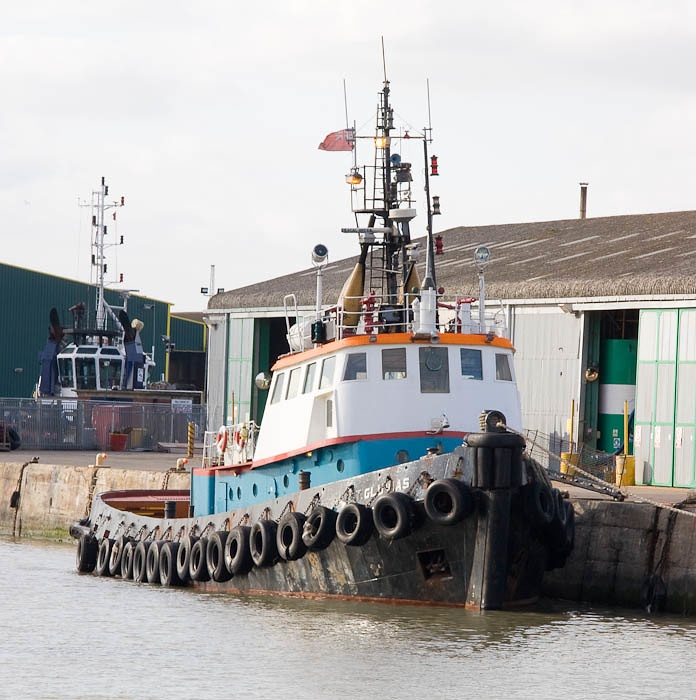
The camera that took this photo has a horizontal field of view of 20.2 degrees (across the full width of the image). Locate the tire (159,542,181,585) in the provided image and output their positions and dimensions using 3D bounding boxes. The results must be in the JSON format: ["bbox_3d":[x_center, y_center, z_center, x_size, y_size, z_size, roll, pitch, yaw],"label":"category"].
[{"bbox_3d":[-2.552,3.140,28.040,0.212,0.704,0.646,2,-9,-21],"label":"tire"}]

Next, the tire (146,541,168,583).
[{"bbox_3d":[-2.748,3.102,28.143,0.162,0.518,0.473,5,-11,-18],"label":"tire"}]

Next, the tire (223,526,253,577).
[{"bbox_3d":[-1.492,2.754,26.648,0.208,0.673,0.609,9,-15,-28],"label":"tire"}]

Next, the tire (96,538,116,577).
[{"bbox_3d":[-3.663,3.192,29.589,0.136,0.443,0.404,3,13,-15],"label":"tire"}]

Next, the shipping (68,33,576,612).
[{"bbox_3d":[0.027,-0.181,29.022,3.725,6.986,11.257,2,0,-20],"label":"shipping"}]

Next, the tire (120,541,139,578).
[{"bbox_3d":[-3.237,3.143,28.929,0.155,0.501,0.454,4,-6,-19],"label":"tire"}]

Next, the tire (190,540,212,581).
[{"bbox_3d":[-2.061,3.003,27.425,0.192,0.610,0.570,10,-17,-21],"label":"tire"}]

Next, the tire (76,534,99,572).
[{"bbox_3d":[-4.013,3.178,30.097,0.158,0.485,0.442,0,8,-11],"label":"tire"}]

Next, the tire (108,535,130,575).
[{"bbox_3d":[-3.430,3.129,29.267,0.142,0.443,0.412,14,14,-21],"label":"tire"}]

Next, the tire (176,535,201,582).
[{"bbox_3d":[-2.269,2.984,27.731,0.198,0.672,0.614,4,-10,-22],"label":"tire"}]

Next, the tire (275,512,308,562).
[{"bbox_3d":[-0.732,2.495,25.703,0.263,0.677,0.572,-6,5,-27],"label":"tire"}]

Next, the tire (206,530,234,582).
[{"bbox_3d":[-1.746,2.873,26.876,0.207,0.691,0.625,6,2,-19],"label":"tire"}]

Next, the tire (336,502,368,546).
[{"bbox_3d":[0.060,2.247,24.890,0.594,0.536,0.223,0,6,43],"label":"tire"}]

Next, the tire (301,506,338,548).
[{"bbox_3d":[-0.388,2.334,25.273,0.528,0.543,0.226,-1,6,34],"label":"tire"}]

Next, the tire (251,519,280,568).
[{"bbox_3d":[-1.091,2.612,26.064,0.246,0.643,0.543,3,5,-22],"label":"tire"}]

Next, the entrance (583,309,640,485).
[{"bbox_3d":[5.029,1.041,36.503,0.627,2.671,0.560,1,2,-6],"label":"entrance"}]

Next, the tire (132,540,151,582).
[{"bbox_3d":[-3.019,3.144,28.561,0.145,0.468,0.428,1,17,-15],"label":"tire"}]

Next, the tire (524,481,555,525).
[{"bbox_3d":[2.389,1.945,24.462,0.191,0.538,0.492,-8,-5,28],"label":"tire"}]

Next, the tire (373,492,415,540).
[{"bbox_3d":[0.581,2.101,24.489,0.561,0.562,0.323,-4,5,9],"label":"tire"}]
